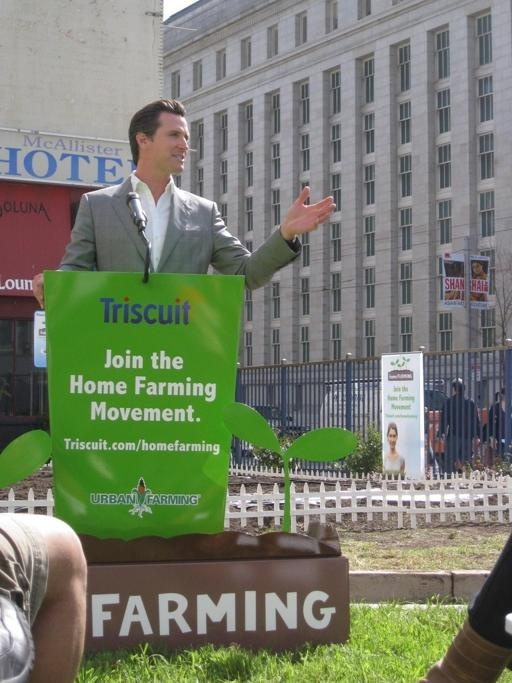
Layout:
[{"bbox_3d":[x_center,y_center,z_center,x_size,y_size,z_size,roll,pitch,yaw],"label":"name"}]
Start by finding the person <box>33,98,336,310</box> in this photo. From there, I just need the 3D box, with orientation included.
[{"bbox_3d":[-0.381,-0.753,7.703,1.253,0.959,0.462,0,-3,3],"label":"person"}]

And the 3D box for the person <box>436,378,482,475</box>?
[{"bbox_3d":[2.494,1.055,18.104,0.429,1.155,0.865,1,-4,-8],"label":"person"}]
